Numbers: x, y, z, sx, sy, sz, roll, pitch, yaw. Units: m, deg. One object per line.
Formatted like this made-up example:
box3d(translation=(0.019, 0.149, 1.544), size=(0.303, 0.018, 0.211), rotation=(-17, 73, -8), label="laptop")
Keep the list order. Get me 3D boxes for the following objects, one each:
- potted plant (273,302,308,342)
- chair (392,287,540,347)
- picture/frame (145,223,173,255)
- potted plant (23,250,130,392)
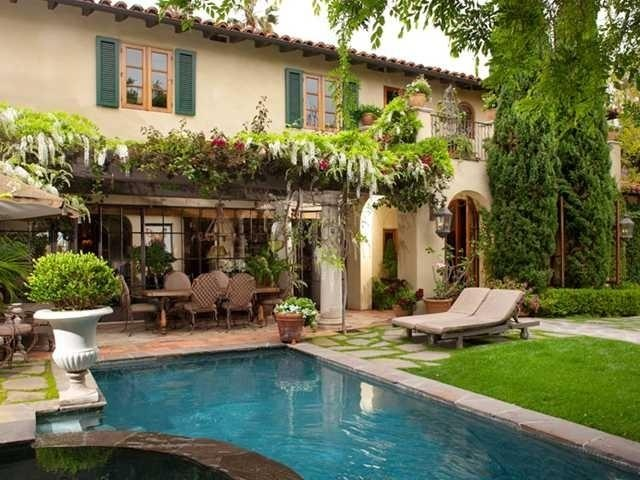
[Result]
box3d(translation=(-0.556, 1.529, 10.013), size=(0.629, 0.664, 0.604), rotation=(1, -6, -6), label="potted plant")
box3d(translation=(2.812, 1.449, 10.332), size=(2.356, 0.942, 1.237), rotation=(0, -1, -25), label="chair")
box3d(translation=(-4.091, -0.022, 13.561), size=(0.680, 0.702, 0.067), rotation=(14, -21, -41), label="picture/frame")
box3d(translation=(-3.038, 1.010, 6.705), size=(0.998, 1.604, 0.465), rotation=(-1, 0, -28), label="potted plant")
